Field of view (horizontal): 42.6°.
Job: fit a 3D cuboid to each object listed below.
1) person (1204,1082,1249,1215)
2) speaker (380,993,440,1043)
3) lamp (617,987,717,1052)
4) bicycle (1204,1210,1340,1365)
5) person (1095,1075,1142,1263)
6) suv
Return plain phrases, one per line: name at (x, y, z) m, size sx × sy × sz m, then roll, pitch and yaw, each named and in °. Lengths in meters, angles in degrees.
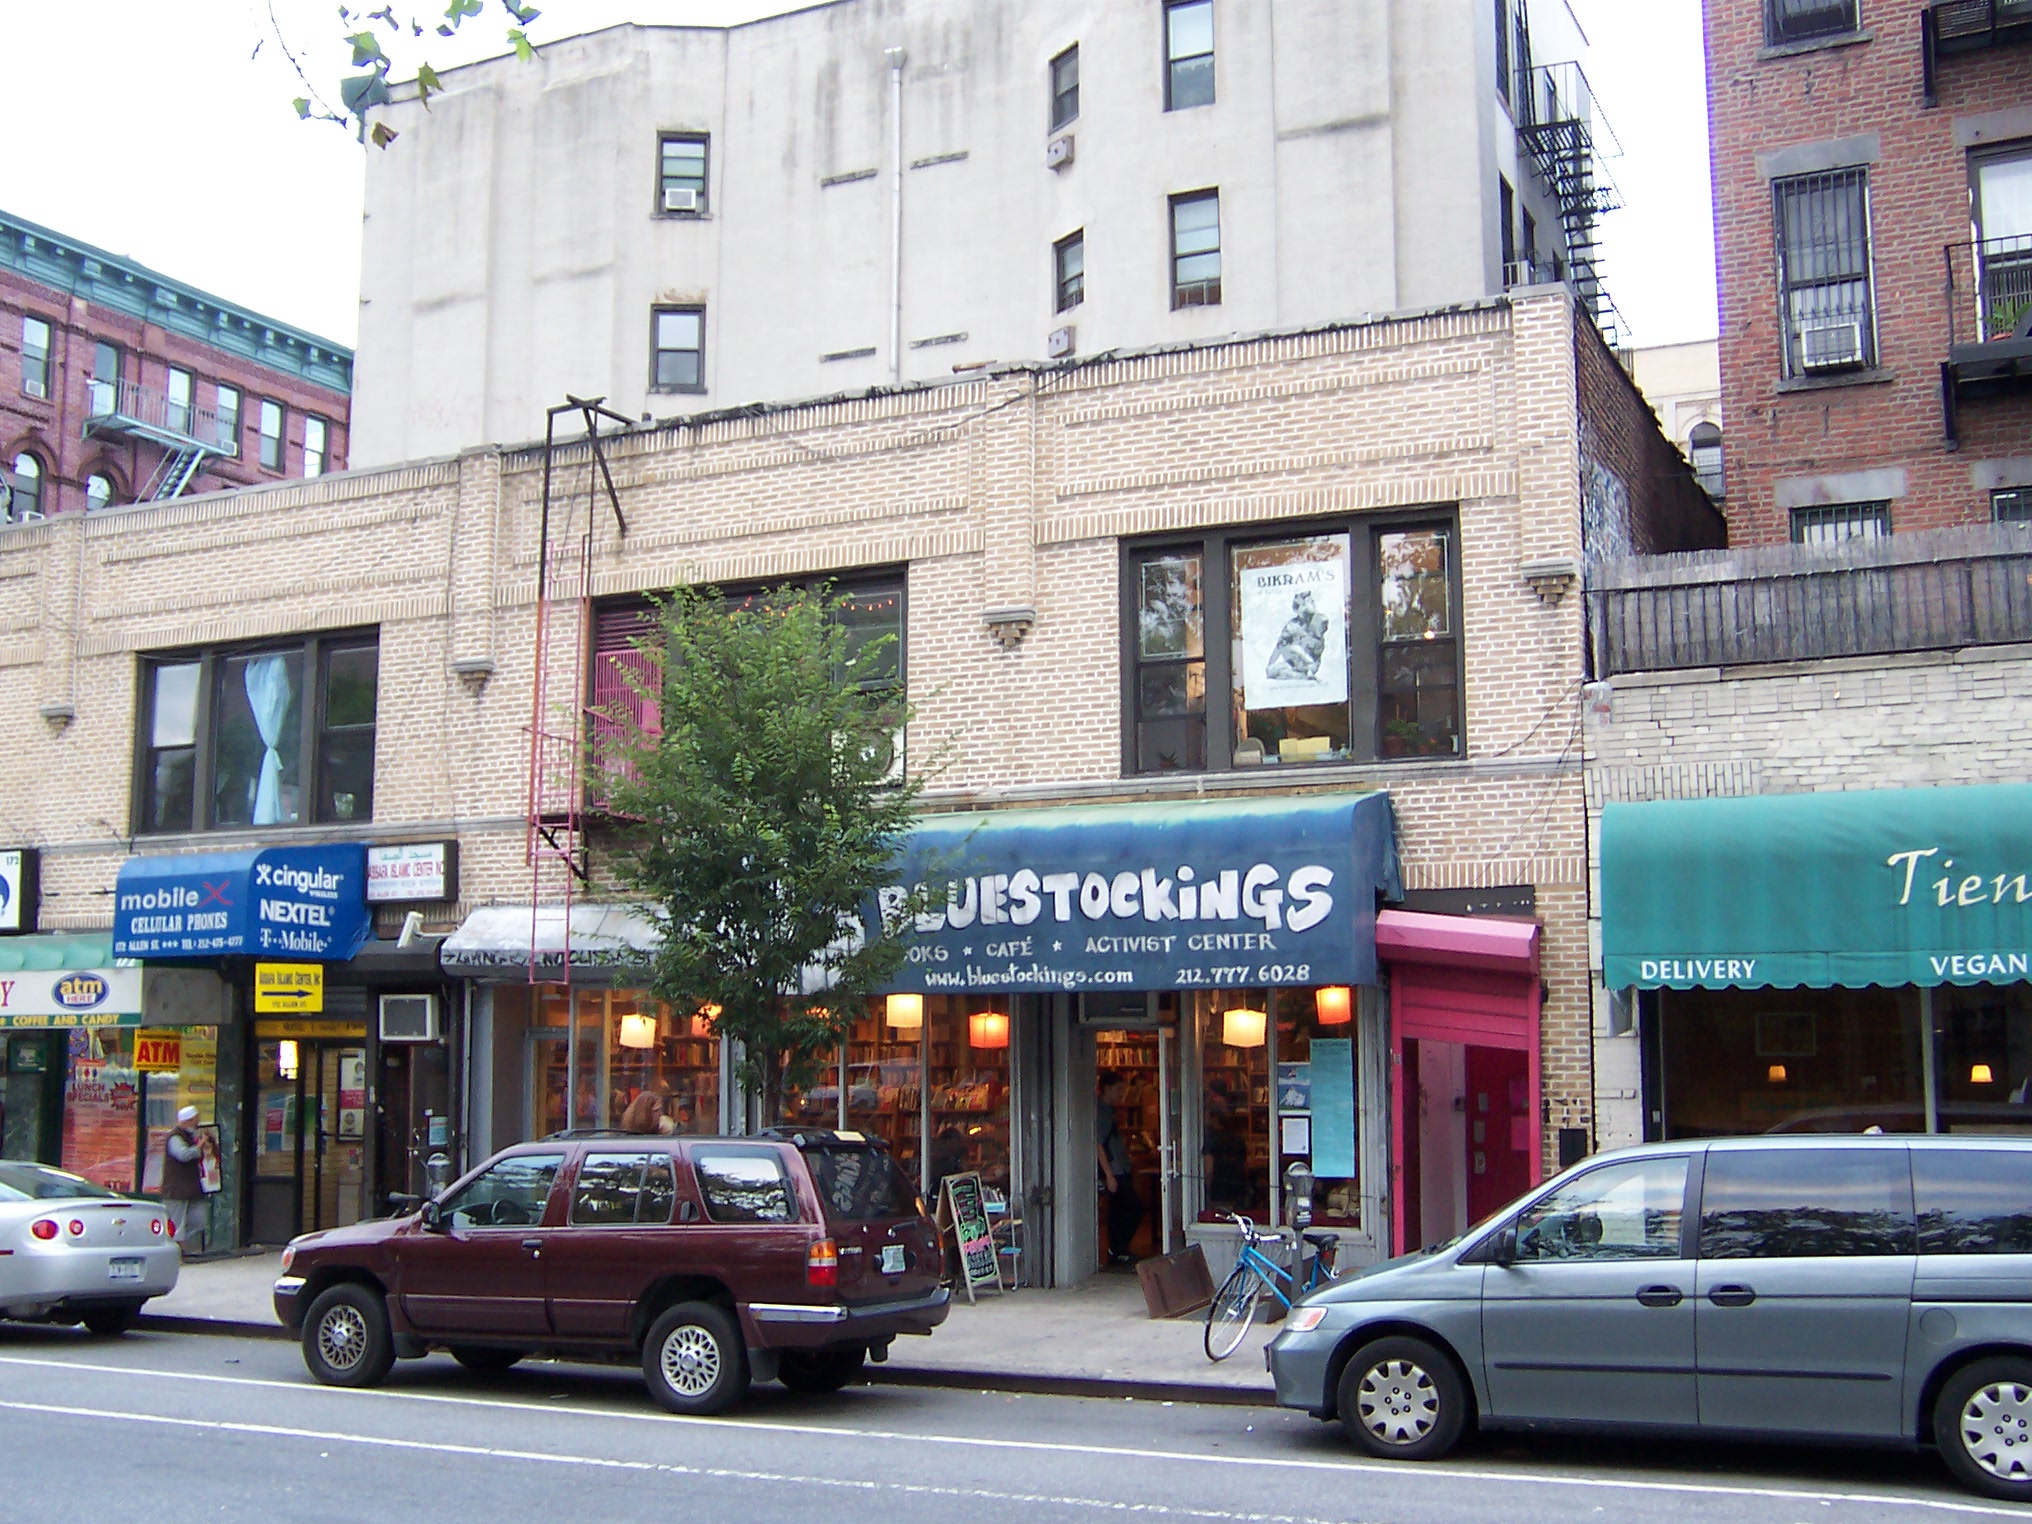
person at (2.242, 4.103, 27.792) m, size 0.473 × 1.321 × 0.143 m, roll 1°, pitch 3°, yaw 25°
speaker at (-7.173, 3.005, 30.738) m, size 0.875 × 0.565 × 0.250 m, roll 1°, pitch 3°, yaw 34°
lamp at (-4.084, 3.022, 30.101) m, size 1.251 × 0.626 × 0.320 m, roll 2°, pitch 3°, yaw 40°
bicycle at (2.452, 5.010, 25.047) m, size 1.733 × 1.030 × 0.818 m, roll 5°, pitch -20°, yaw -43°
person at (1.147, 4.584, 29.031) m, size 0.443 × 2.129 × 0.555 m, roll 0°, pitch 3°, yaw 3°
suv at (-3.614, 4.513, 23.955) m, size 5.102 × 1.966 × 2.581 m, roll -1°, pitch -11°, yaw 17°
